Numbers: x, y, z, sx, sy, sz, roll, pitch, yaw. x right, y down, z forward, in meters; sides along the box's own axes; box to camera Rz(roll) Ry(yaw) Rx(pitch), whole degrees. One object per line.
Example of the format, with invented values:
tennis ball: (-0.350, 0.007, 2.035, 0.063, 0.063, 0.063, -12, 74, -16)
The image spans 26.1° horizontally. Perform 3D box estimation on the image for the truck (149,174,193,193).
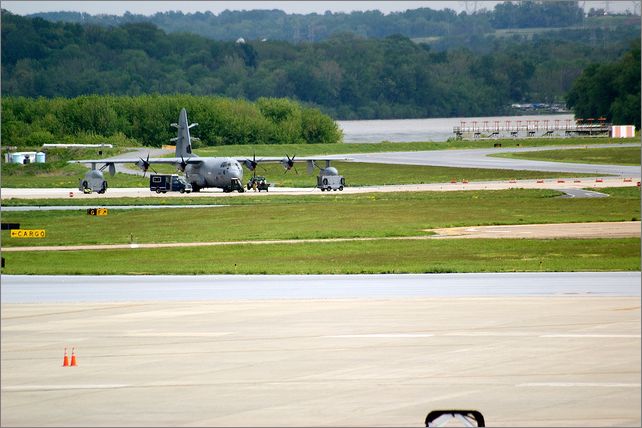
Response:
truck: (-36.453, -7.536, 335.267, 9.391, 4.434, 1.752, -2, 10, -6)

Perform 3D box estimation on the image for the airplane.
airplane: (-24.396, -15.806, 338.479, 59.145, 19.993, 10.979, -1, 10, 0)
